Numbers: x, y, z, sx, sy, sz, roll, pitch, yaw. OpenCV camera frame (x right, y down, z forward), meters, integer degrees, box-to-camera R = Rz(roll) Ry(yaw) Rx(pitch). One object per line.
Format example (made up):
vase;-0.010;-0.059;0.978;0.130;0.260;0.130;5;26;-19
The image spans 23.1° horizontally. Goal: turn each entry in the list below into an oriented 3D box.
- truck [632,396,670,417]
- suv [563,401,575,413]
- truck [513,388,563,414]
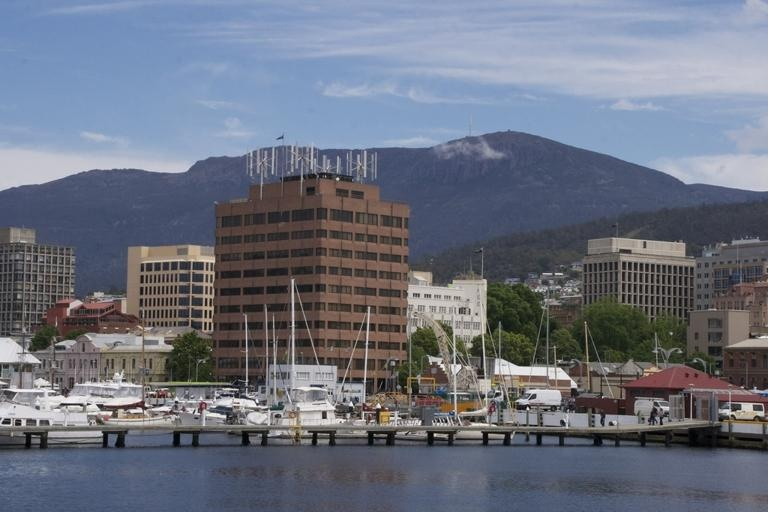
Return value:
truck;55.110;30.357;388.509;5.939;2.761;3.539;-2;-5;22
suv;39.790;31.431;402.539;2.525;2.770;7.259;-2;-9;5
truck;33.931;30.316;409.570;9.269;3.998;4.324;1;-5;2
